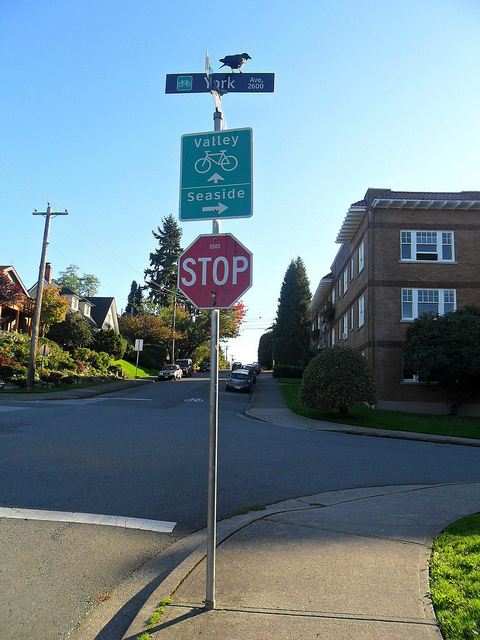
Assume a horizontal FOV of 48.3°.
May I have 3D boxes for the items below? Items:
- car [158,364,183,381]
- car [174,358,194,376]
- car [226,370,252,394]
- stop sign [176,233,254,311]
[{"bbox_3d":[-5.753,4.238,43.356,1.407,1.461,2.814,2,-9,-1],"label":"car"},{"bbox_3d":[-5.254,4.420,50.724,0.962,1.165,1.893,-2,-14,2],"label":"car"},{"bbox_3d":[-0.092,3.997,34.867,1.567,1.399,1.758,3,-8,-4],"label":"car"},{"bbox_3d":[-0.197,-0.365,4.120,0.608,0.603,0.280,0,-8,13],"label":"stop sign"}]
